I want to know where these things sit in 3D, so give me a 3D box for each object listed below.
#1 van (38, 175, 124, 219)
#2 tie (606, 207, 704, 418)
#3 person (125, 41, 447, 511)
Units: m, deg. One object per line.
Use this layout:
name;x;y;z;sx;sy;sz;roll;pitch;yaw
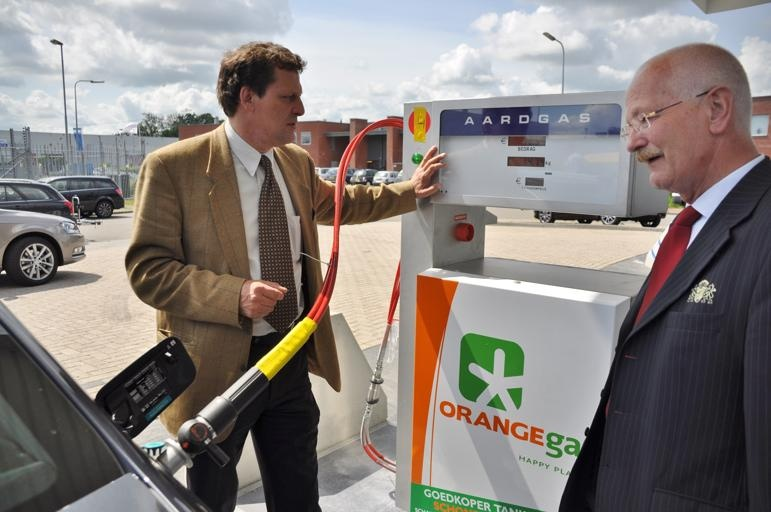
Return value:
van;-10.762;-2.221;15.646;2.627;1.086;1.246;2;3;-35
tie;0.827;0.161;1.291;0.102;0.623;0.112;26;-8;33
person;-0.521;0.132;2.086;0.621;2.180;1.135;12;19;44
